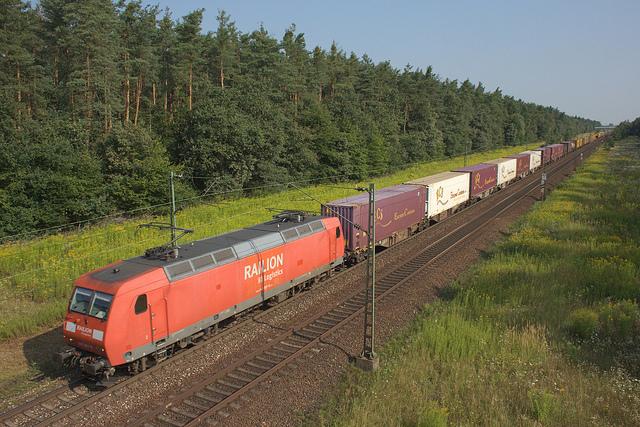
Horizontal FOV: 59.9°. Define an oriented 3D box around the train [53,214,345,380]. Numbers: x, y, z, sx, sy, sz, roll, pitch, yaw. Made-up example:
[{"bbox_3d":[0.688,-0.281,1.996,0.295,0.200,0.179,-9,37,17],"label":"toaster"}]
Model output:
[{"bbox_3d":[-6.592,4.982,45.331,5.539,6.997,27.852,2,11,36],"label":"train"}]
